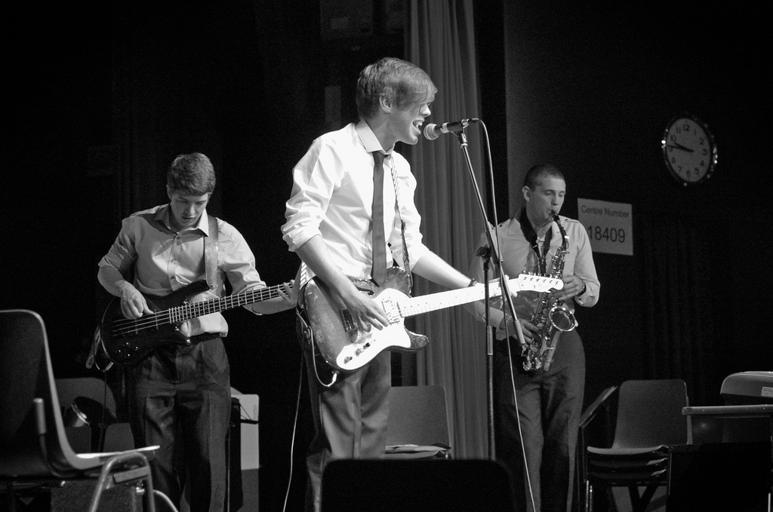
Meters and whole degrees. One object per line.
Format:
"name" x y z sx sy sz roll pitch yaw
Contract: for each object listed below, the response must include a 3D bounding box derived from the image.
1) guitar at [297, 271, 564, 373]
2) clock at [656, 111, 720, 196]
"guitar" 0.012 0.374 4.733 0.947 0.516 0.211 -2 -2 -30
"clock" 2.797 -0.934 7.847 0.720 0.828 0.082 -5 3 -30
